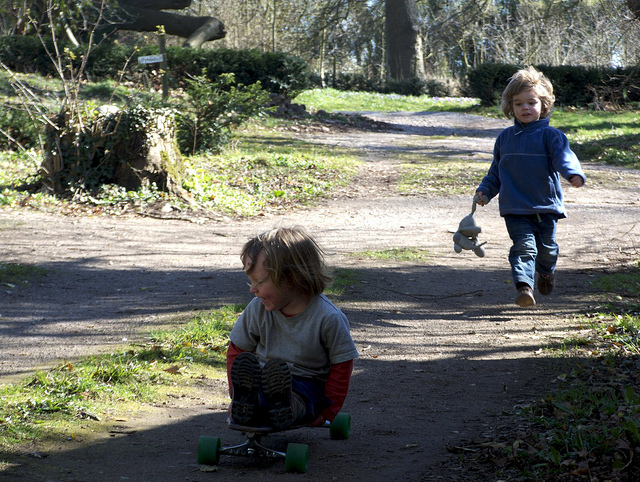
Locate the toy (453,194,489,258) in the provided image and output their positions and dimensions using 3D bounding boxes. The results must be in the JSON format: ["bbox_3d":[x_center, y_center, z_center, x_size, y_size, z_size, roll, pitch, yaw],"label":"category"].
[{"bbox_3d":[1.631,-0.163,9.721,0.432,0.626,0.391,2,5,18],"label":"toy"}]

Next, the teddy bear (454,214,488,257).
[{"bbox_3d":[1.655,-0.070,9.681,0.372,0.461,0.532,-4,9,-18],"label":"teddy bear"}]
